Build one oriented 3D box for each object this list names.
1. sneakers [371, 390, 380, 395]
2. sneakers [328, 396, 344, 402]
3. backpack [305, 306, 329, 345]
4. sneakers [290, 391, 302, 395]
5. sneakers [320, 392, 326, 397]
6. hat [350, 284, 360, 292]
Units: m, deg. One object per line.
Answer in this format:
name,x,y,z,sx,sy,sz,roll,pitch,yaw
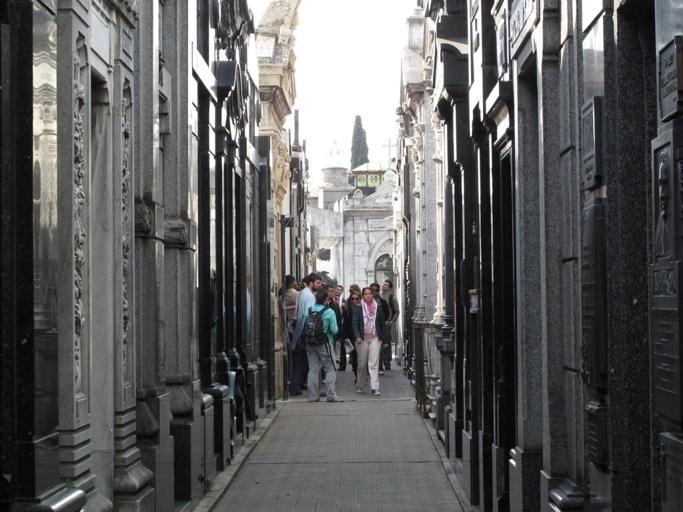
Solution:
sneakers,0.598,2.313,14.988,0.069,0.064,0.162,-32,16,-34
sneakers,-0.091,2.294,14.035,0.261,0.077,0.143,-2,-5,-12
backpack,-0.401,1.099,13.874,0.341,0.649,0.396,3,1,-11
sneakers,-0.778,2.410,15.539,0.170,0.078,0.134,1,0,-8
sneakers,-0.303,2.337,14.817,0.074,0.045,0.117,2,2,5
hat,0.295,0.658,18.109,0.128,0.186,0.162,1,10,-13
